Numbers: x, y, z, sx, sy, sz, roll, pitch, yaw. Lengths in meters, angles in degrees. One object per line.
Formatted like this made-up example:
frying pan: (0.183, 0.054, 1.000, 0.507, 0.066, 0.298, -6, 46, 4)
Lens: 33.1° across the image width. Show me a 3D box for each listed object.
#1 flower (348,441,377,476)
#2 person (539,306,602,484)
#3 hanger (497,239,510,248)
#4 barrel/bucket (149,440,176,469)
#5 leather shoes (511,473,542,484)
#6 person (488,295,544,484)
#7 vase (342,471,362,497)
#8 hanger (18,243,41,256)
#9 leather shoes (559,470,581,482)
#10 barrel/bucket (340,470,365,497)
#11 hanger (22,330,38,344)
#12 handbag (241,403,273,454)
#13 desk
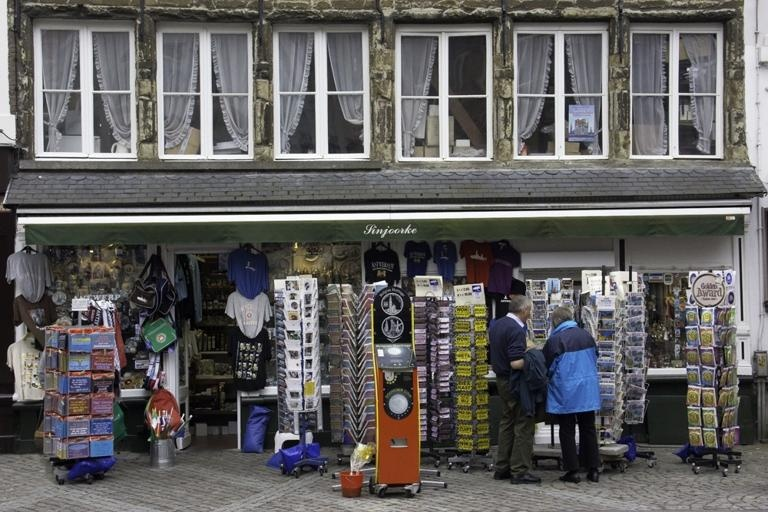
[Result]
flower: (-0.326, 3.253, 20.949, 0.406, 0.451, 0.942, 0, -1, 2)
person: (3.031, 2.212, 20.937, 0.909, 2.831, 0.504, -1, -2, 6)
hanger: (2.208, -0.252, 23.664, 0.132, 0.158, 0.046, 1, -36, -8)
barrel/bucket: (-3.812, 3.383, 22.393, 0.410, 0.470, 0.476, 0, -3, -3)
leather shoes: (2.291, 3.563, 20.800, 0.459, 0.214, 0.179, -1, 0, -6)
person: (2.084, 2.137, 20.966, 0.739, 2.998, 0.430, -2, -3, 38)
vase: (-0.513, 3.593, 20.415, 0.314, 0.282, 0.352, 0, -8, -1)
hanger: (-6.343, -0.136, 23.093, 0.260, 0.216, 0.014, 4, -38, -19)
leather shoes: (3.011, 3.536, 20.915, 0.344, 0.147, 0.138, 3, 3, 42)
barrel/bucket: (-0.504, 3.598, 20.468, 0.324, 0.289, 0.360, 1, -10, -2)
hanger: (-6.325, 1.436, 23.073, 0.164, 0.199, 0.220, 3, -33, -2)
handbag: (-2.292, 3.091, 23.179, 0.494, 0.790, 0.228, 3, -6, 9)
desk: (-1.854, 2.843, 23.673, 1.714, 1.267, 0.997, -3, -5, -7)
